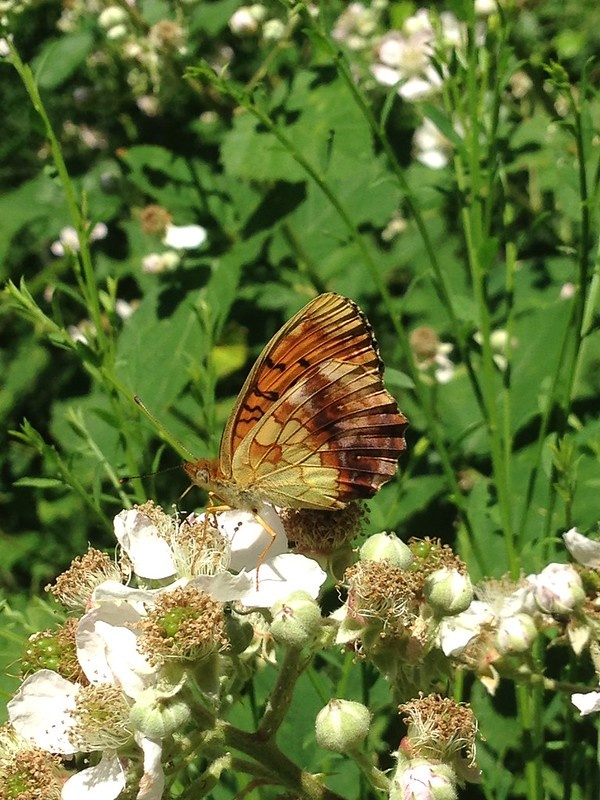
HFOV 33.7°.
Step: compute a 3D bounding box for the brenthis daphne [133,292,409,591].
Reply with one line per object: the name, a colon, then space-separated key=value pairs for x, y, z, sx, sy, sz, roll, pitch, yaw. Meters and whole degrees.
brenthis daphne: x=-0.072 y=0.097 z=2.499 sx=0.801 sy=0.566 sz=0.643 roll=-2 pitch=81 yaw=-1
